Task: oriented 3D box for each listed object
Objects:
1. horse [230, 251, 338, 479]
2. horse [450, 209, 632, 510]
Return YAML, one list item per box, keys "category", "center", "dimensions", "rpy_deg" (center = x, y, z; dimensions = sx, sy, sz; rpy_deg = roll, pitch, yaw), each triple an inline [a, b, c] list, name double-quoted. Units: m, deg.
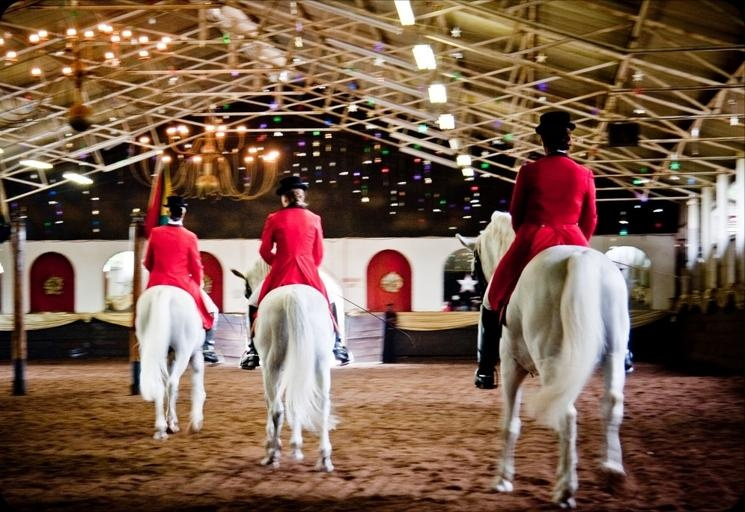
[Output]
- category: "horse"
  center: [-0.950, 1.340, 8.075]
  dimensions: [1.150, 2.080, 1.380]
  rpy_deg: [-1, 4, -9]
- category: "horse"
  center: [1.835, 1.173, 6.795]
  dimensions: [1.244, 2.545, 0.726]
  rpy_deg: [1, 5, 17]
